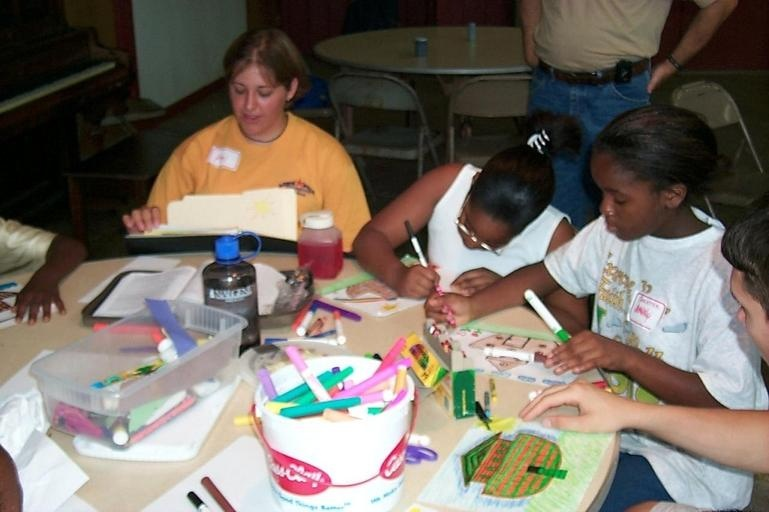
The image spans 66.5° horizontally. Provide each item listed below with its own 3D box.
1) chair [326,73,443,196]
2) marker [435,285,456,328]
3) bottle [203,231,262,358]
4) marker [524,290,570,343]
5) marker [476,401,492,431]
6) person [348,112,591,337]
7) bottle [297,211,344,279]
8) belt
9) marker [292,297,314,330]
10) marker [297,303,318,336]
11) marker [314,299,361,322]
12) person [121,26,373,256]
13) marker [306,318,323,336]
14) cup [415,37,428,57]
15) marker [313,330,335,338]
[{"bbox_3d":[0.060,-0.764,3.788,0.796,0.918,0.756,-2,26,-6],"label":"chair"},{"bbox_3d":[0.164,0.134,1.621,0.034,0.028,0.130,3,54,-37],"label":"marker"},{"bbox_3d":[-0.350,0.096,1.399,0.122,0.284,0.120,1,21,-1],"label":"bottle"},{"bbox_3d":[0.443,0.168,1.599,0.145,0.031,0.039,49,18,9],"label":"marker"},{"bbox_3d":[0.215,0.345,1.258,0.020,0.009,0.064,-15,34,-4],"label":"marker"},{"bbox_3d":[0.301,-0.010,2.094,0.787,1.060,0.505,14,57,4],"label":"person"},{"bbox_3d":[-0.201,-0.038,1.793,0.153,0.188,0.150,0,19,0],"label":"bottle"},{"bbox_3d":[0.967,-0.865,2.723,0.518,0.131,0.183,11,31,18],"label":"belt"},{"bbox_3d":[-0.214,0.154,1.528,0.022,0.017,0.098,14,37,18],"label":"marker"},{"bbox_3d":[-0.195,0.166,1.519,0.019,0.018,0.094,-3,25,20],"label":"marker"},{"bbox_3d":[-0.128,0.149,1.571,0.134,0.019,0.024,17,16,38],"label":"marker"},{"bbox_3d":[-0.498,-0.395,2.196,0.954,0.779,0.444,4,31,-4],"label":"person"},{"bbox_3d":[-0.181,0.185,1.497,0.015,0.020,0.063,-22,1,19],"label":"marker"},{"bbox_3d":[0.241,-1.358,3.820,0.082,0.100,0.070,2,30,2],"label":"cup"},{"bbox_3d":[-0.151,0.196,1.473,0.063,0.002,0.017,-4,40,-30],"label":"marker"}]
